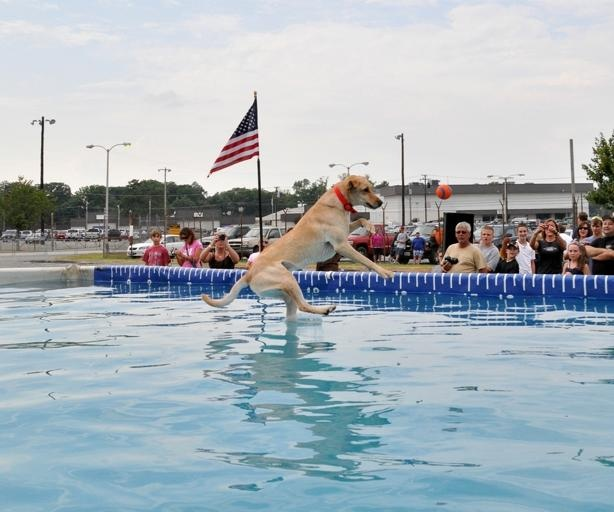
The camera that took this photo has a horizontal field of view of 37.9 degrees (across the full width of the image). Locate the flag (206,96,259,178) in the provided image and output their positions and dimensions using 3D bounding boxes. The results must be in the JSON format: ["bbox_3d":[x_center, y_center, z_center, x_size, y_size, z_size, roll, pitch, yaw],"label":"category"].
[{"bbox_3d":[-1.489,-2.678,19.312,1.157,1.594,0.825,-3,7,-22],"label":"flag"}]

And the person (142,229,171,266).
[{"bbox_3d":[-2.867,-0.165,16.985,0.515,0.812,1.709,-1,6,-9],"label":"person"}]

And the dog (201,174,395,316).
[{"bbox_3d":[0.039,-0.074,10.077,1.757,1.656,1.232,-1,6,-10],"label":"dog"}]

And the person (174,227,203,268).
[{"bbox_3d":[-2.193,-0.043,16.801,0.588,0.889,0.519,-1,4,-23],"label":"person"}]
